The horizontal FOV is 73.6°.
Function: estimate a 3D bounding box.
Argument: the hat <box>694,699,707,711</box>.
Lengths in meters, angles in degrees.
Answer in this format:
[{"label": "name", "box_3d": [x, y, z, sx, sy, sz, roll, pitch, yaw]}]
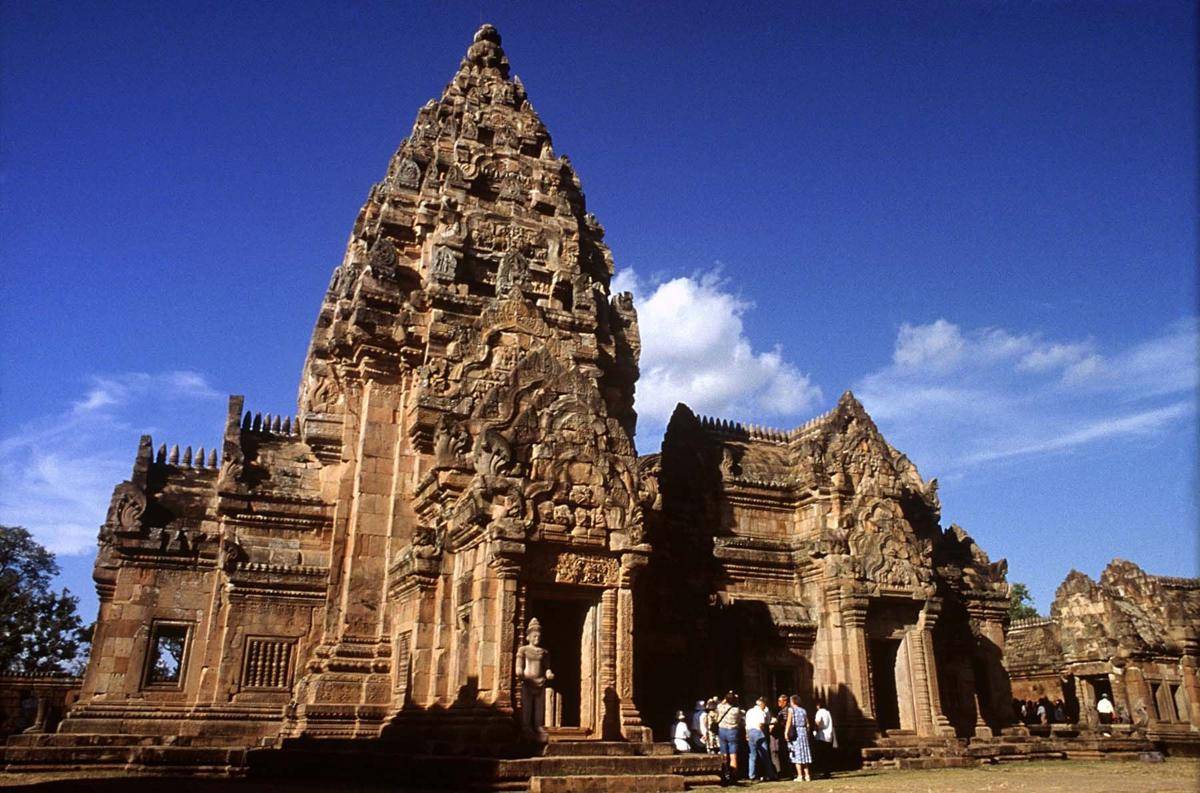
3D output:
[{"label": "hat", "box_3d": [2.301, 7.040, 18.242, 0.313, 0.220, 0.402, 0, -20, 1]}]

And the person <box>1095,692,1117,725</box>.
[{"label": "person", "box_3d": [17.090, 10.573, 27.204, 0.571, 0.887, 1.298, -15, -27, 27]}]

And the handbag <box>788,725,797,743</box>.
[{"label": "handbag", "box_3d": [3.996, 7.047, 16.685, 0.077, 0.296, 0.357, 5, -25, -16]}]
